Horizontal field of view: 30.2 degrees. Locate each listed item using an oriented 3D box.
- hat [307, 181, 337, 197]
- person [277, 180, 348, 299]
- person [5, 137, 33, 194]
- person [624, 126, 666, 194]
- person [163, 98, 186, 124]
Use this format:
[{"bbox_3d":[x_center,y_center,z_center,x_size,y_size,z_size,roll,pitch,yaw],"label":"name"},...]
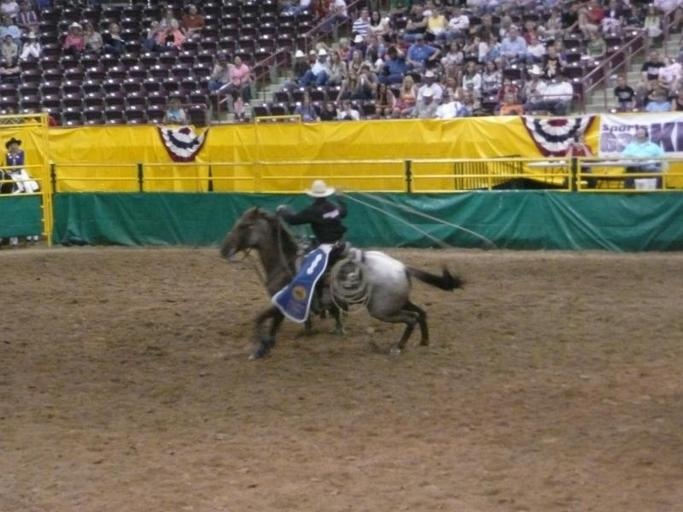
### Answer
[{"bbox_3d":[-0.383,-1.309,24.777,0.633,0.269,0.689,-1,21,-1],"label":"hat"},{"bbox_3d":[-0.473,-0.597,23.050,1.093,1.544,0.466,-3,14,0],"label":"person"},{"bbox_3d":[-8.210,-2.288,32.039,0.609,1.246,1.507,-7,14,-14],"label":"person"},{"bbox_3d":[7.096,-2.263,29.744,0.945,1.372,1.042,-1,14,8],"label":"person"},{"bbox_3d":[-4.762,-4.097,36.022,0.598,0.690,1.042,-5,13,-7],"label":"person"}]
